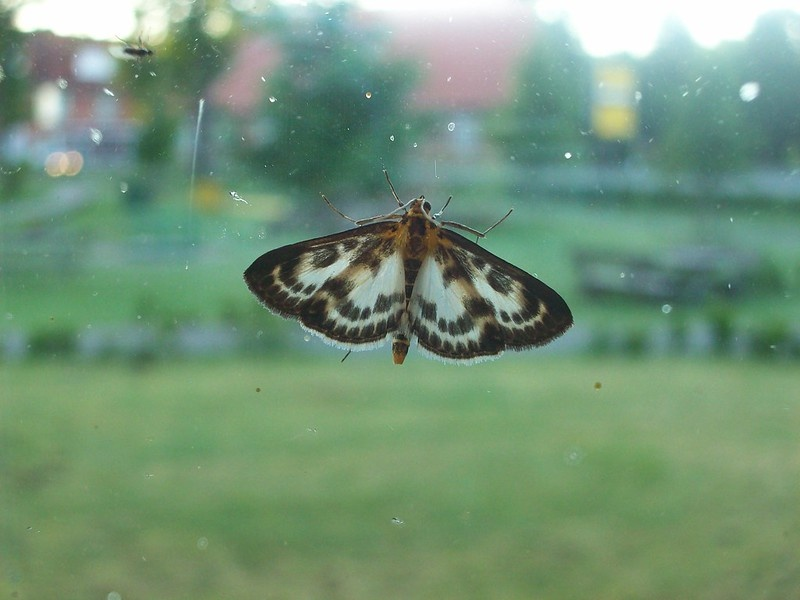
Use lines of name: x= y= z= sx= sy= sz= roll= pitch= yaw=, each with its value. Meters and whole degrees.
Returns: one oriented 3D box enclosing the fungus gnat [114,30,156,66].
fungus gnat: x=-0.887 y=-0.836 z=3.079 sx=0.118 sy=0.027 sz=0.081 roll=-3 pitch=83 yaw=0
